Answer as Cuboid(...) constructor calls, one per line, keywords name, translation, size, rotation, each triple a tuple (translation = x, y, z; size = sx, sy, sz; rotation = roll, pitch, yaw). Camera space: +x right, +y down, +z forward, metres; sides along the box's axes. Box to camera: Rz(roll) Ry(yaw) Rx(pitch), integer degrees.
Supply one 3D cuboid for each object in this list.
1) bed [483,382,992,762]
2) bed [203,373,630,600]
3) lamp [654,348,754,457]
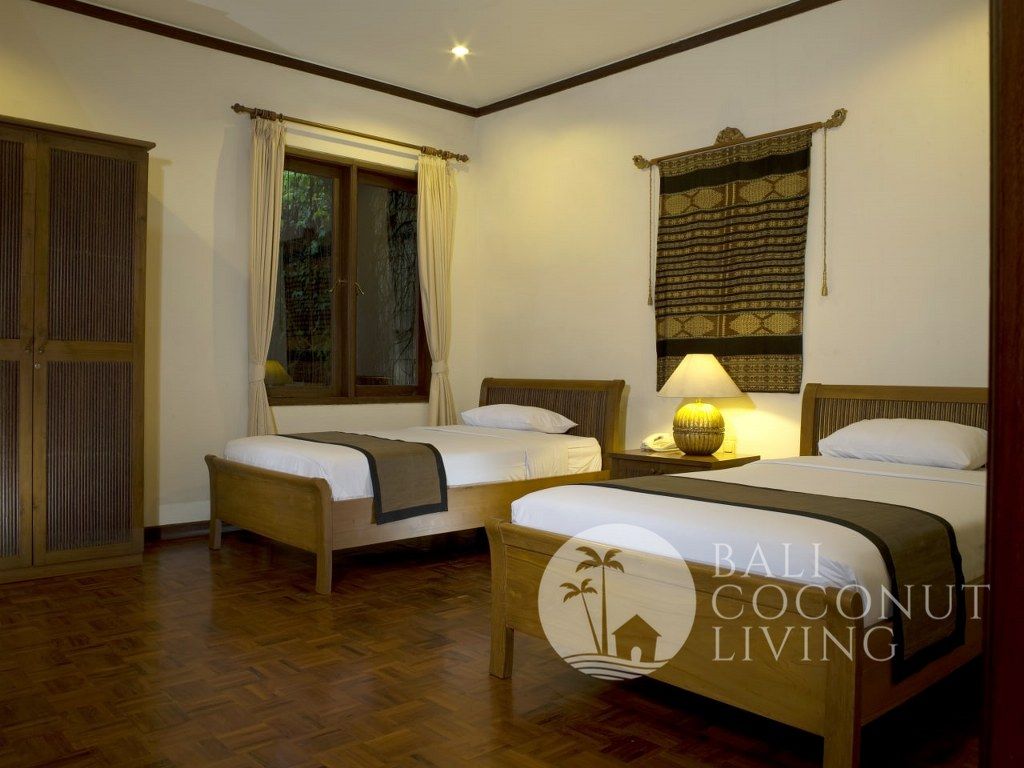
Cuboid(name="bed", translation=(1.233, 0.582, 2.940), size=(1.224, 0.946, 1.938), rotation=(3, 5, 41))
Cuboid(name="bed", translation=(-0.613, 0.511, 5.018), size=(2.454, 1.099, 1.711), rotation=(-2, 3, -38))
Cuboid(name="lamp", translation=(1.303, 0.116, 4.877), size=(0.615, 0.774, 0.668), rotation=(3, -1, 22))
